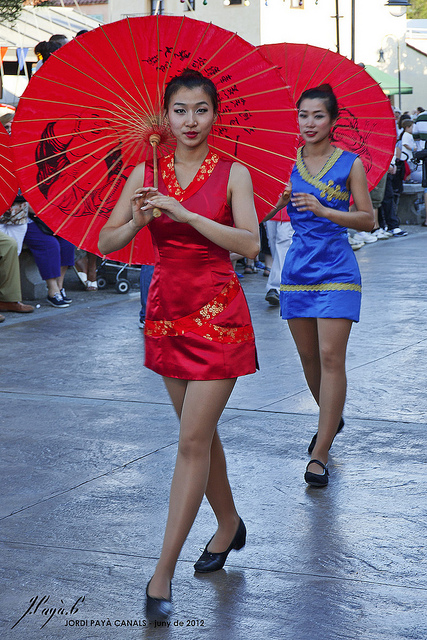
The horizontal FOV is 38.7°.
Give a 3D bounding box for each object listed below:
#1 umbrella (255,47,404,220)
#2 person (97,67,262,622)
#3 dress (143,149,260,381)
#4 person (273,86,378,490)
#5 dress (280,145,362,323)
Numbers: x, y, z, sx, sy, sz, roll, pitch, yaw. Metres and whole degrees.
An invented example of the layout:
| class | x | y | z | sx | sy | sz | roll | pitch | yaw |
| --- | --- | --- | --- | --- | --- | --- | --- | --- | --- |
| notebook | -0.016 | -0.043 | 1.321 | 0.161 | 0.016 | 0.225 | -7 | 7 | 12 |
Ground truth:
| class | x | y | z | sx | sy | sz | roll | pitch | yaw |
| --- | --- | --- | --- | --- | --- | --- | --- | --- | --- |
| umbrella | 0.704 | -1.269 | 4.056 | 0.550 | 1.282 | 1.400 | 10 | 29 | 20 |
| person | -0.103 | 0.050 | 1.918 | 0.507 | 1.723 | 0.433 | -1 | 4 | -2 |
| dress | -0.059 | -0.175 | 1.955 | 0.384 | 0.741 | 0.318 | -1 | 4 | 1 |
| person | 0.650 | -0.290 | 3.499 | 0.543 | 2.276 | 0.949 | -1 | 4 | 6 |
| dress | 0.582 | -0.508 | 3.426 | 0.468 | 1.026 | 0.458 | 0 | 4 | 19 |
